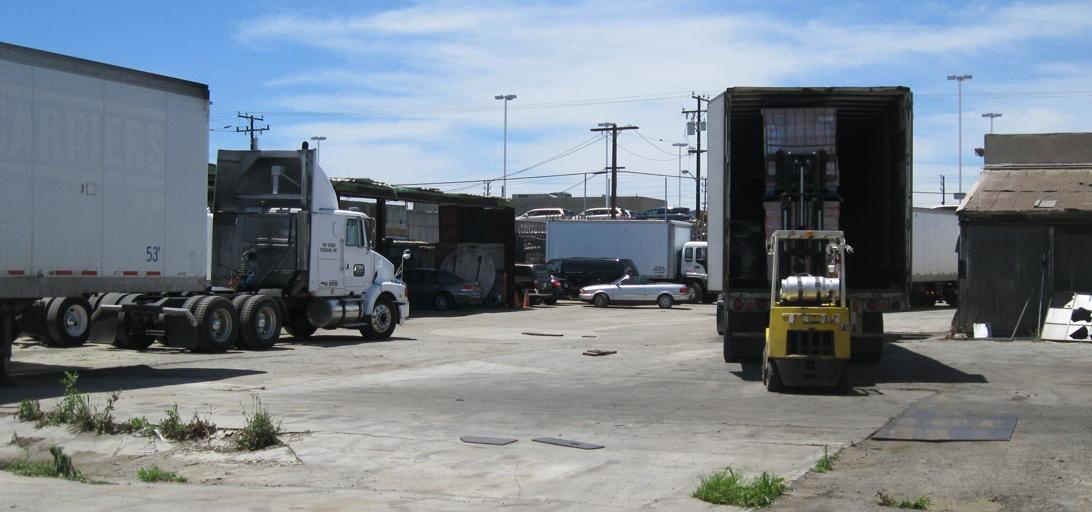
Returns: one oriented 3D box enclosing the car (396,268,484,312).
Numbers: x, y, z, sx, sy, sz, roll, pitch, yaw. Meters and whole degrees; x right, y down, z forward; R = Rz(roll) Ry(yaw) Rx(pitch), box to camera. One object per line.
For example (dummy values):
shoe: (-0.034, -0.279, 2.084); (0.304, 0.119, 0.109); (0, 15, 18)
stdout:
car: (-4.731, 1.520, 46.648); (5.489, 1.602, 2.000); (0, 0, 18)
